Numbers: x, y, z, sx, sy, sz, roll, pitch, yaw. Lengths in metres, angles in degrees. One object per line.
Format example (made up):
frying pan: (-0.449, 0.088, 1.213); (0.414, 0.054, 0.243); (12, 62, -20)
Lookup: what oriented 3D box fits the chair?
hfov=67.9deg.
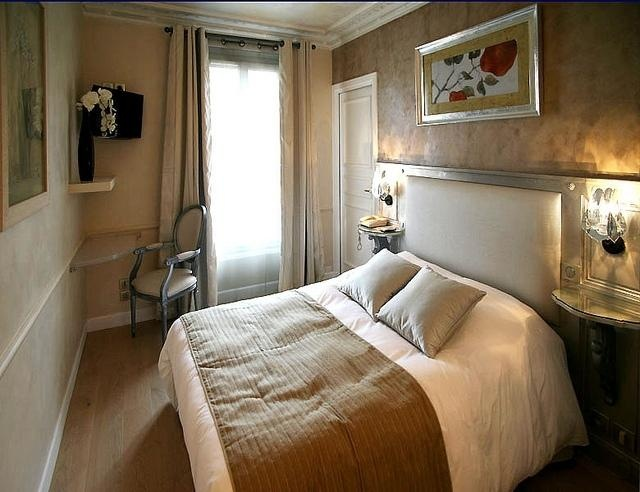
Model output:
chair: (-1.409, 0.245, 4.487); (0.566, 1.297, 0.634); (16, 17, 40)

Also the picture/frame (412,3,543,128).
picture/frame: (1.150, -1.302, 3.563); (0.096, 0.735, 1.148); (-7, 14, -28)

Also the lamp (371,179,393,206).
lamp: (0.593, -0.508, 4.468); (0.082, 0.246, 0.153); (-16, 16, -40)

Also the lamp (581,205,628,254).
lamp: (1.688, -0.102, 2.803); (0.109, 0.282, 0.188); (-31, 39, -20)

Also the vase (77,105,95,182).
vase: (-1.943, -0.841, 3.945); (0.129, 0.601, 0.158); (-7, 14, -28)

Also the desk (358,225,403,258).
desk: (0.574, -0.070, 4.457); (0.274, 0.363, 0.318); (1, 6, 1)

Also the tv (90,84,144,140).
tv: (-1.790, -1.169, 4.169); (0.265, 0.547, 0.559); (1, 2, 17)
